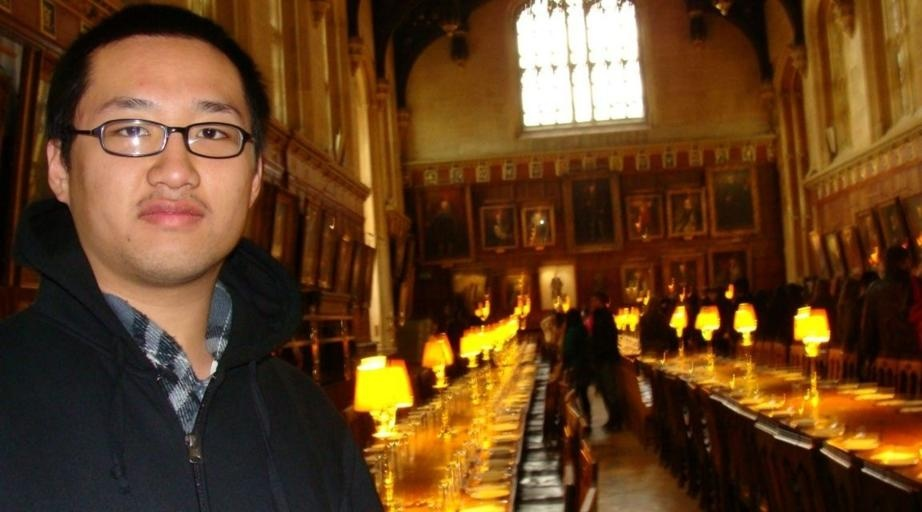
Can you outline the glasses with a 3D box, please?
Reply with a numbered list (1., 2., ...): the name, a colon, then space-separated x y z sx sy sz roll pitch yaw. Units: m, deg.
1. glasses: -0.887 -0.349 2.000 0.494 0.122 0.075 -2 -5 -17
